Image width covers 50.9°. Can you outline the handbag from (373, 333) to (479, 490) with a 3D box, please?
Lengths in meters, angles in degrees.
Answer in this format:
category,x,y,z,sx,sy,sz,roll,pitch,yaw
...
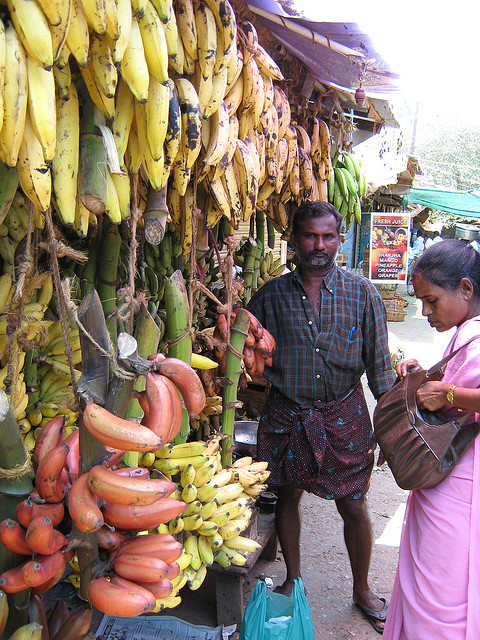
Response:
category,x,y,z,sx,sy,sz,roll,pitch,yaw
handbag,0.635,0.296,1.749,0.200,0.577,0.380,0,12,-20

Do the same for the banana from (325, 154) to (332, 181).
category,x,y,z,sx,sy,sz,roll,pitch,yaw
banana,0.506,-0.879,2.883,0.033,0.145,0.042,-2,-1,-5

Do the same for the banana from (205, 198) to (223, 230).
category,x,y,z,sx,sy,sz,roll,pitch,yaw
banana,-0.090,-0.375,1.779,0.028,0.133,0.037,19,40,36

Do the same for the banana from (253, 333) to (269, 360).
category,x,y,z,sx,sy,sz,roll,pitch,yaw
banana,0.094,0.116,2.172,0.030,0.124,0.044,-11,48,13

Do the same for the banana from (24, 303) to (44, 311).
category,x,y,z,sx,sy,sz,roll,pitch,yaw
banana,-0.579,-0.038,1.420,0.045,0.022,0.076,1,13,-18

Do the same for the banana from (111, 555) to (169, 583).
category,x,y,z,sx,sy,sz,roll,pitch,yaw
banana,-0.190,0.478,0.973,0.095,0.051,0.048,5,45,11

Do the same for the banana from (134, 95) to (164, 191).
category,x,y,z,sx,sy,sz,roll,pitch,yaw
banana,-0.202,-0.366,1.125,0.044,0.242,0.080,-5,8,11

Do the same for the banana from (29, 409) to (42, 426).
category,x,y,z,sx,sy,sz,roll,pitch,yaw
banana,-0.633,0.301,1.561,0.028,0.050,0.029,2,-1,-6

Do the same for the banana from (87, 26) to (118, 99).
category,x,y,z,sx,sy,sz,roll,pitch,yaw
banana,-0.250,-0.469,0.920,0.050,0.180,0.045,-28,-30,33

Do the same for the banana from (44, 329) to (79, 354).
category,x,y,z,sx,sy,sz,roll,pitch,yaw
banana,-0.519,0.058,1.453,0.095,0.022,0.034,-34,25,-4

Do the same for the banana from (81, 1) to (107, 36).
category,x,y,z,sx,sy,sz,roll,pitch,yaw
banana,-0.237,-0.504,0.829,0.019,0.073,0.025,-4,-2,38

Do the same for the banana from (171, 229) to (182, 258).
category,x,y,z,sx,sy,sz,roll,pitch,yaw
banana,-0.245,-0.299,1.953,0.052,0.100,0.031,-4,10,-24

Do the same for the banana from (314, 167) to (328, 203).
category,x,y,z,sx,sy,sz,roll,pitch,yaw
banana,0.455,-0.735,2.822,0.048,0.232,0.079,-11,-4,0

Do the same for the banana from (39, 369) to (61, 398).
category,x,y,z,sx,sy,sz,roll,pitch,yaw
banana,-0.629,0.206,1.656,0.020,0.096,0.032,17,-16,31

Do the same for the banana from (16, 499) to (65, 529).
category,x,y,z,sx,sy,sz,roll,pitch,yaw
banana,-0.372,0.370,0.976,0.044,0.063,0.096,2,-20,27

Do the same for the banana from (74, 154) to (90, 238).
category,x,y,z,sx,sy,sz,roll,pitch,yaw
banana,-0.329,-0.265,1.052,0.027,0.155,0.036,-1,6,2

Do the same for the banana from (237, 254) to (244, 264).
category,x,y,z,sx,sy,sz,roll,pitch,yaw
banana,0.012,-0.365,3.000,0.035,0.043,0.054,-24,24,0

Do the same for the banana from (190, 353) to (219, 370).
category,x,y,z,sx,sy,sz,roll,pitch,yaw
banana,-0.138,0.164,1.887,0.129,0.040,0.038,16,26,-26

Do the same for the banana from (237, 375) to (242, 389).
category,x,y,z,sx,sy,sz,roll,pitch,yaw
banana,0.003,0.289,2.353,0.017,0.066,0.023,3,-1,-19

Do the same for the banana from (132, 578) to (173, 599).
category,x,y,z,sx,sy,sz,roll,pitch,yaw
banana,-0.175,0.526,0.989,0.098,0.027,0.034,39,-20,-33

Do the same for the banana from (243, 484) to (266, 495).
category,x,y,z,sx,sy,sz,roll,pitch,yaw
banana,0.057,0.625,1.858,0.061,0.022,0.041,6,43,-24

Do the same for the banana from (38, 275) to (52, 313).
category,x,y,z,sx,sy,sz,roll,pitch,yaw
banana,-0.541,-0.076,1.393,0.022,0.106,0.033,5,10,-35

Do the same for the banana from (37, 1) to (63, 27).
category,x,y,z,sx,sy,sz,roll,pitch,yaw
banana,-0.283,-0.469,0.761,0.020,0.040,0.013,-9,15,2

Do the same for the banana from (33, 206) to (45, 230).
category,x,y,z,sx,sy,sz,roll,pitch,yaw
banana,-0.391,-0.202,0.978,0.019,0.067,0.023,-26,-38,9

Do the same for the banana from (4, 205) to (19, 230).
category,x,y,z,sx,sy,sz,roll,pitch,yaw
banana,-0.626,-0.282,1.386,0.025,0.033,0.098,-8,-22,-9

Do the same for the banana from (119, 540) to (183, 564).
category,x,y,z,sx,sy,sz,roll,pitch,yaw
banana,-0.173,0.459,1.000,0.104,0.036,0.054,7,-23,-14

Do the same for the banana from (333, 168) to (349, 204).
category,x,y,z,sx,sy,sz,roll,pitch,yaw
banana,0.604,-0.806,2.987,0.112,0.202,0.119,6,11,10

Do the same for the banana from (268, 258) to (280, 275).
category,x,y,z,sx,sy,sz,roll,pitch,yaw
banana,0.243,-0.379,3.488,0.036,0.163,0.022,19,-5,-22

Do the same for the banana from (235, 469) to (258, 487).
category,x,y,z,sx,sy,sz,roll,pitch,yaw
banana,0.031,0.567,1.827,0.095,0.060,0.035,-3,13,-35

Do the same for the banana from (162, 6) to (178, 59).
category,x,y,z,sx,sy,sz,roll,pitch,yaw
banana,-0.154,-0.603,1.093,0.020,0.079,0.023,4,-28,-34

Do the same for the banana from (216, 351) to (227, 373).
category,x,y,z,sx,sy,sz,roll,pitch,yaw
banana,-0.077,0.186,2.172,0.030,0.125,0.037,-9,18,-38

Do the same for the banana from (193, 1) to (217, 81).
category,x,y,z,sx,sy,sz,roll,pitch,yaw
banana,-0.086,-0.733,1.302,0.046,0.219,0.068,-5,-10,-6

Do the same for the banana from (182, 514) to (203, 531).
category,x,y,z,sx,sy,sz,roll,pitch,yaw
banana,-0.141,0.612,1.521,0.082,0.058,0.028,-25,-38,37

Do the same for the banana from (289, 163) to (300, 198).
category,x,y,z,sx,sy,sz,roll,pitch,yaw
banana,0.267,-0.656,2.388,0.042,0.174,0.045,-4,0,-36

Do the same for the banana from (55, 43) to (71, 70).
category,x,y,z,sx,sy,sz,roll,pitch,yaw
banana,-0.294,-0.440,0.840,0.014,0.054,0.017,15,-17,-27

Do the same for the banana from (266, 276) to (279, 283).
category,x,y,z,sx,sy,sz,roll,pitch,yaw
banana,0.206,-0.248,2.939,0.020,0.021,0.182,20,21,23

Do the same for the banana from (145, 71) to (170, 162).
category,x,y,z,sx,sy,sz,roll,pitch,yaw
banana,-0.172,-0.432,1.068,0.039,0.189,0.058,0,-2,-10

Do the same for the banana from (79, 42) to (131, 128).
category,x,y,z,sx,sy,sz,roll,pitch,yaw
banana,-0.259,-0.478,0.978,0.070,0.068,0.227,-20,49,8

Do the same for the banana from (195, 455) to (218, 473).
category,x,y,z,sx,sy,sz,roll,pitch,yaw
banana,-0.099,0.449,1.611,0.033,0.025,0.101,-6,23,38

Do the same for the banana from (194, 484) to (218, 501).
category,x,y,z,sx,sy,sz,roll,pitch,yaw
banana,-0.111,0.547,1.603,0.102,0.033,0.037,-48,-3,41

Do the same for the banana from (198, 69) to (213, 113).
category,x,y,z,sx,sy,sz,roll,pitch,yaw
banana,-0.089,-0.603,1.322,0.038,0.127,0.028,2,-6,25

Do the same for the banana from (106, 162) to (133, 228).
category,x,y,z,sx,sy,sz,roll,pitch,yaw
banana,-0.274,-0.297,1.119,0.044,0.178,0.059,-21,-41,21

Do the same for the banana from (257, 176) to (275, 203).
category,x,y,z,sx,sy,sz,roll,pitch,yaw
banana,0.111,-0.563,2.215,0.033,0.154,0.054,32,44,17

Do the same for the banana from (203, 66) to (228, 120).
category,x,y,z,sx,sy,sz,roll,pitch,yaw
banana,-0.067,-0.611,1.352,0.055,0.187,0.037,7,-11,-1

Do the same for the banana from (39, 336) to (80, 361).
category,x,y,z,sx,sy,sz,roll,pitch,yaw
banana,-0.533,0.082,1.475,0.102,0.044,0.029,-35,-23,-7
